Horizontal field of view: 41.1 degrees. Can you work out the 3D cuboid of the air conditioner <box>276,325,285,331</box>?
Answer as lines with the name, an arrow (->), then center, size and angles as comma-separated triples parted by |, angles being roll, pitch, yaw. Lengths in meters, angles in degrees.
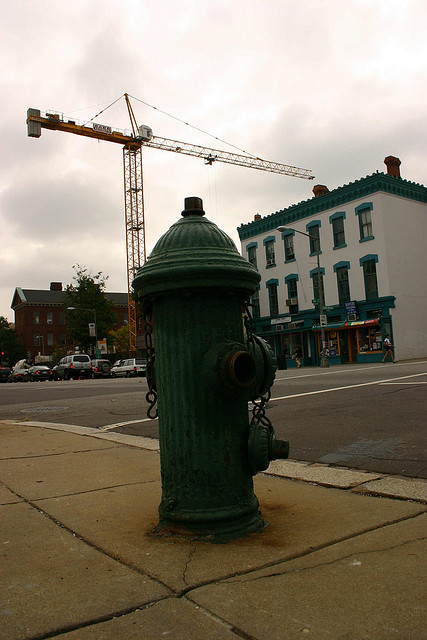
air conditioner -> 4.851, 0.574, 41.199 | 0.330, 0.541, 0.590 | 7, -10, -34

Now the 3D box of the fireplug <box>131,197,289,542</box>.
fireplug -> -0.013, 0.251, 3.377 | 0.873, 1.875, 0.803 | -2, -3, -13

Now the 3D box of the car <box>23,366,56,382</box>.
car -> -14.239, 4.338, 46.237 | 1.910, 0.954, 4.626 | -3, -2, -40

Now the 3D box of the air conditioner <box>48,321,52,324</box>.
air conditioner -> -27.851, 0.430, 96.443 | 0.302, 0.401, 0.418 | -2, 0, 17

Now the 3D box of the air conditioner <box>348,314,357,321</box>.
air conditioner -> 8.489, -0.141, 35.091 | 0.148, 0.382, 0.716 | -4, -2, -28

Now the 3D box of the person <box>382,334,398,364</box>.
person -> 9.414, 1.529, 30.841 | 0.568, 1.518, 3.021 | -5, -2, 16

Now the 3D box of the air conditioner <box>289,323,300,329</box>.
air conditioner -> 5.724, 0.468, 40.139 | 0.328, 0.374, 0.590 | 6, -7, -31

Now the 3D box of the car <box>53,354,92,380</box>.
car -> -10.599, 3.488, 42.889 | 1.637, 1.349, 3.173 | 3, -1, -32

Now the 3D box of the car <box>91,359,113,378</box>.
car -> -8.524, 3.648, 42.869 | 1.118, 1.003, 1.960 | -1, 3, -16
